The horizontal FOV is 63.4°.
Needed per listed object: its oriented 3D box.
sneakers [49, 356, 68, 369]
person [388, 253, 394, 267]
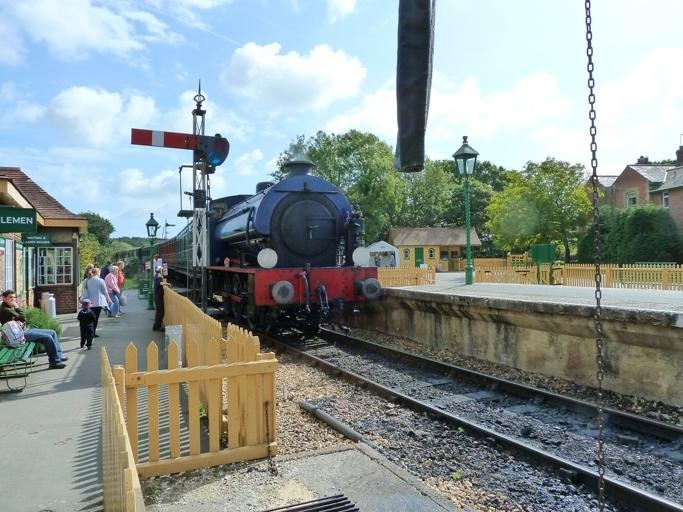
[{"bbox_3d":[-4.938,1.877,9.676,0.314,0.148,0.110,-4,6,-27],"label":"sneakers"},{"bbox_3d":[3.680,0.242,40.170,0.423,0.837,1.007,-3,0,-7],"label":"person"}]
